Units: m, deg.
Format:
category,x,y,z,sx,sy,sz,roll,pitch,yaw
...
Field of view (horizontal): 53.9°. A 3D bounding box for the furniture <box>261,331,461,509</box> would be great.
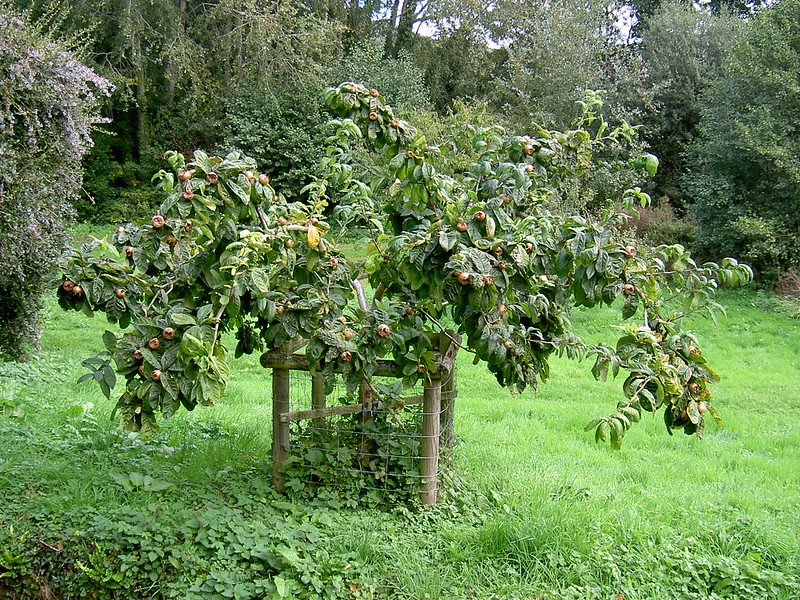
category,x,y,z,sx,sy,sz,roll,pitch,yaw
furniture,-0.325,1.107,7.943,1.711,1.690,1.401,1,-1,20
